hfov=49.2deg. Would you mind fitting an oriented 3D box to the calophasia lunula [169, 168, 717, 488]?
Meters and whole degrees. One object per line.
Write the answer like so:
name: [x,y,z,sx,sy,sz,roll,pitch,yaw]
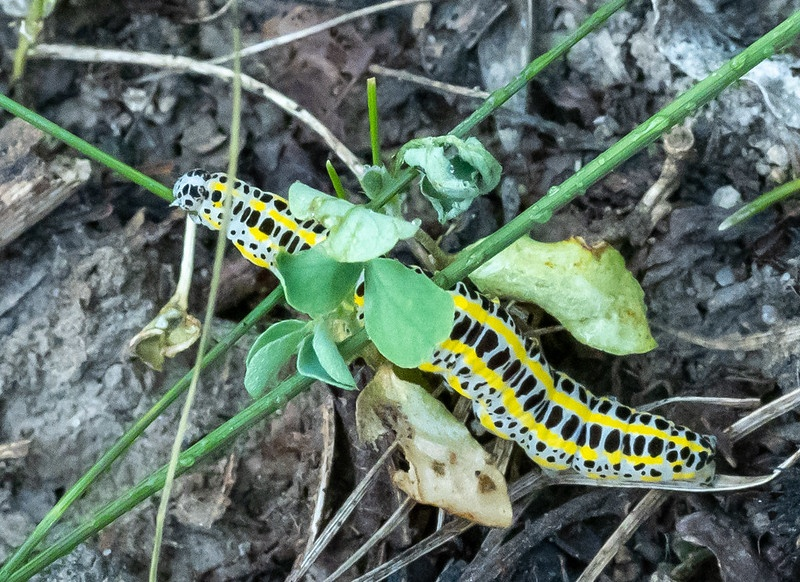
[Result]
calophasia lunula: [0.149,0.117,2.188,1.152,0.213,0.240,30,-62,5]
